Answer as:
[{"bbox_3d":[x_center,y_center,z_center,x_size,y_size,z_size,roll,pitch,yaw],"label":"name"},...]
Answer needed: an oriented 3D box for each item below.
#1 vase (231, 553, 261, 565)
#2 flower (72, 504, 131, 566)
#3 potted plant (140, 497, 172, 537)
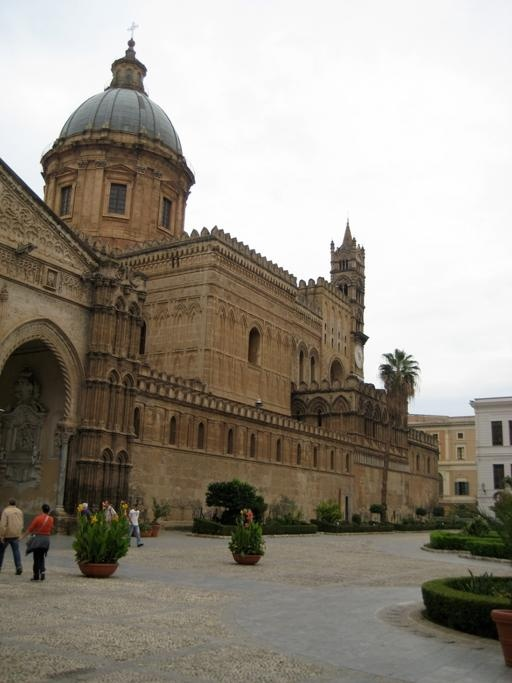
[{"bbox_3d":[-0.252,5.774,16.073,0.692,0.309,0.550,0,-14,2],"label":"vase"},{"bbox_3d":[-3.123,3.996,12.162,1.051,0.932,0.610,4,-14,-16],"label":"flower"},{"bbox_3d":[-4.814,8.419,29.011,1.710,2.181,1.328,-1,-20,-1],"label":"potted plant"}]
